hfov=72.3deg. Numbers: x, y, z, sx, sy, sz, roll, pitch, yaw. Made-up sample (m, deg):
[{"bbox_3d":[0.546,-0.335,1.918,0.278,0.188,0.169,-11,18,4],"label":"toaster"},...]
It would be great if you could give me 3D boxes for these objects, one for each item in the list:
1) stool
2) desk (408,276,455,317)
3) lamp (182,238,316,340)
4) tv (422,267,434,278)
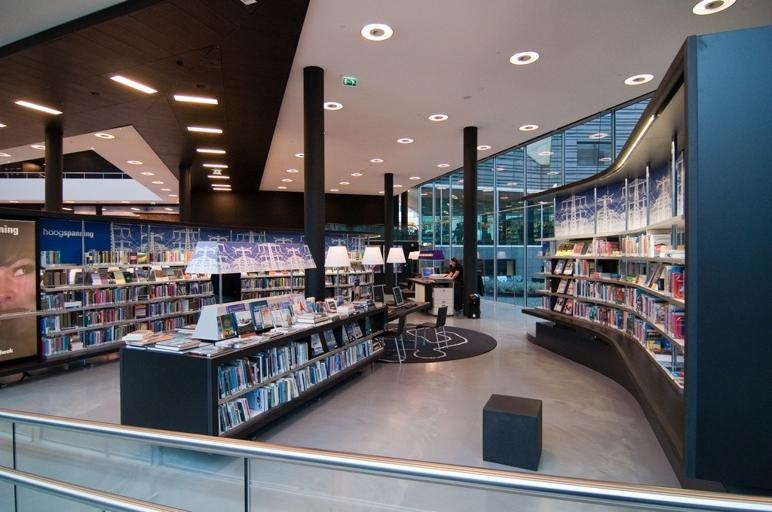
[{"bbox_3d":[1.558,2.140,6.450,0.709,0.628,0.592,4,14,17],"label":"stool"},{"bbox_3d":[1.502,0.993,14.817,0.850,0.736,1.593,-1,2,-2],"label":"desk"},{"bbox_3d":[-2.224,0.515,8.333,0.646,1.180,2.040,1,1,31],"label":"lamp"},{"bbox_3d":[1.238,0.460,15.283,0.210,0.286,0.366,0,-1,23],"label":"tv"}]
